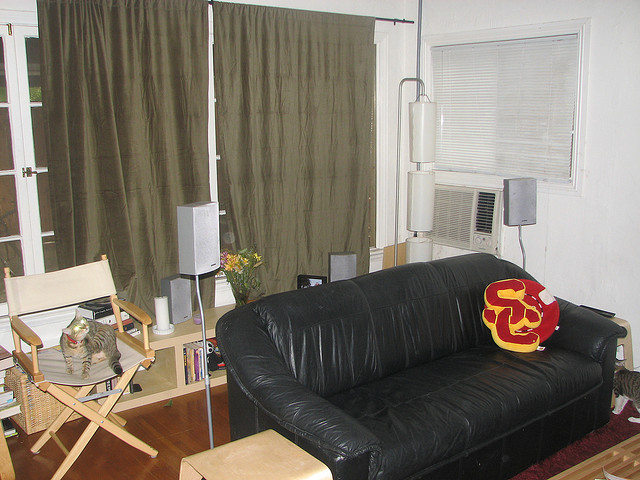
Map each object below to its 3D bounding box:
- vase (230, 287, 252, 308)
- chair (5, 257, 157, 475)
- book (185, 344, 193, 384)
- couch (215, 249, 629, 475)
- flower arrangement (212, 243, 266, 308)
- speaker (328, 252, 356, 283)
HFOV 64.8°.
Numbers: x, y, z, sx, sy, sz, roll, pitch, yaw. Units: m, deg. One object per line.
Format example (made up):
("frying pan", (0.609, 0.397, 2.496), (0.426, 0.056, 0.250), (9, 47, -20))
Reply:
("vase", (-0.605, 0.428, 3.923), (0.160, 0.183, 0.168), (-1, 9, -2))
("chair", (-1.574, 0.852, 3.235), (0.828, 1.387, 0.855), (-11, 25, -37))
("book", (-1.006, 0.952, 3.841), (0.045, 0.279, 0.061), (-11, 16, -33))
("couch", (0.654, 0.820, 3.122), (2.341, 1.079, 1.050), (-8, 14, -27))
("flower arrangement", (-0.641, 0.270, 3.998), (0.277, 0.509, 0.325), (-9, 19, -41))
("speaker", (0.161, 0.209, 3.807), (0.215, 0.223, 0.209), (-1, 1, -19))
